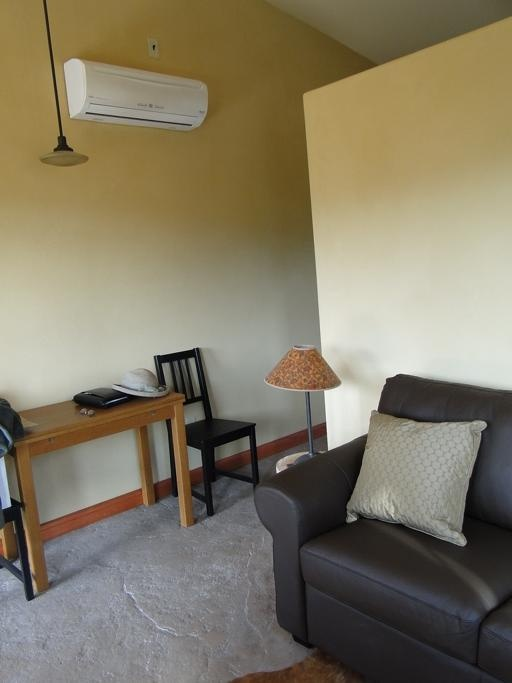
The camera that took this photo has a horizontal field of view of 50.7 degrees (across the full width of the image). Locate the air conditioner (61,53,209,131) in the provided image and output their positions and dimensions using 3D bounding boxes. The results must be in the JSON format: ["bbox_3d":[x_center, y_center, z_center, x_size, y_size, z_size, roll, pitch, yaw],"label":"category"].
[{"bbox_3d":[-0.577,-1.245,2.764,0.176,0.261,0.748,27,30,36],"label":"air conditioner"}]

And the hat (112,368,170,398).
[{"bbox_3d":[-0.568,0.174,2.666,0.185,0.069,0.170,11,11,16],"label":"hat"}]
